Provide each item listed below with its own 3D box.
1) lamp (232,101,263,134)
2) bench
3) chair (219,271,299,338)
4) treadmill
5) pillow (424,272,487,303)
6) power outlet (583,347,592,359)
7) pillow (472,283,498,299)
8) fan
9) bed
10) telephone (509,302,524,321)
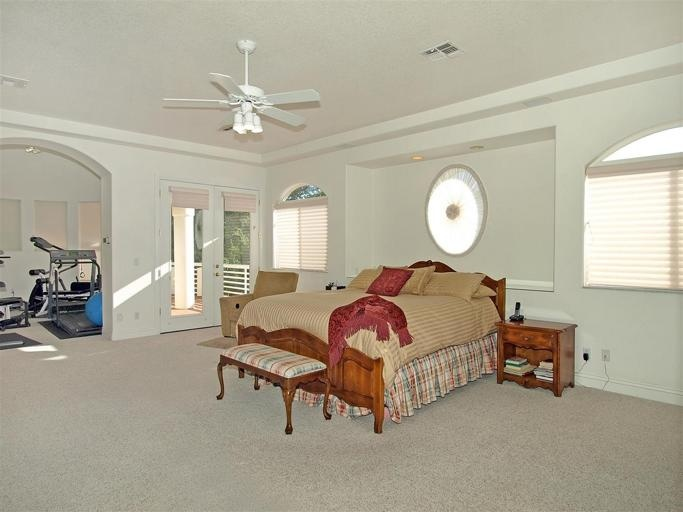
[{"bbox_3d":[-0.891,-1.344,4.543,0.246,0.256,0.231,-2,7,-30],"label":"lamp"},{"bbox_3d":[-0.723,1.290,4.943,1.241,0.557,0.618,4,4,43],"label":"bench"},{"bbox_3d":[-1.242,0.775,7.481,1.310,1.075,1.313,0,-1,-15],"label":"chair"},{"bbox_3d":[-5.019,0.862,9.413,1.146,2.230,1.284,4,2,-35],"label":"treadmill"},{"bbox_3d":[1.464,0.345,6.032,0.533,0.151,0.400,-1,37,49],"label":"pillow"},{"bbox_3d":[2.838,1.136,5.483,0.091,0.143,0.025,4,12,23],"label":"power outlet"},{"bbox_3d":[1.832,0.460,6.043,0.214,0.068,0.216,-8,6,-40],"label":"pillow"},{"bbox_3d":[-0.987,-1.707,4.910,1.358,0.884,2.136,-2,10,-9],"label":"fan"},{"bbox_3d":[1.005,0.931,5.743,2.955,1.178,3.747,-1,-2,40],"label":"bed"},{"bbox_3d":[2.145,0.682,5.781,0.220,0.247,0.227,2,-2,24],"label":"telephone"}]
